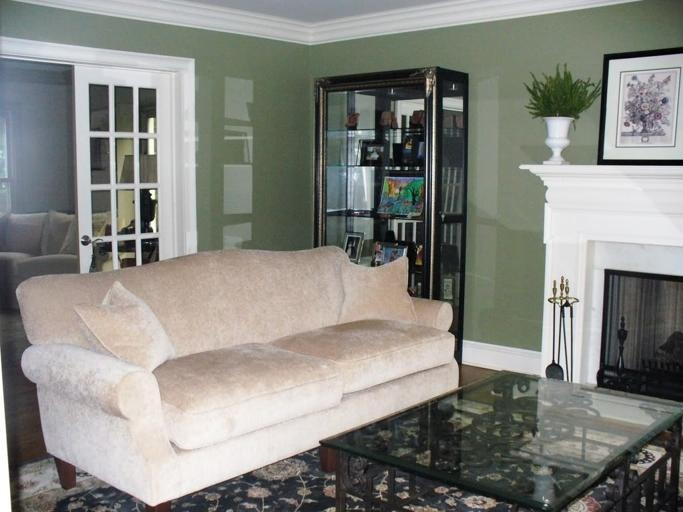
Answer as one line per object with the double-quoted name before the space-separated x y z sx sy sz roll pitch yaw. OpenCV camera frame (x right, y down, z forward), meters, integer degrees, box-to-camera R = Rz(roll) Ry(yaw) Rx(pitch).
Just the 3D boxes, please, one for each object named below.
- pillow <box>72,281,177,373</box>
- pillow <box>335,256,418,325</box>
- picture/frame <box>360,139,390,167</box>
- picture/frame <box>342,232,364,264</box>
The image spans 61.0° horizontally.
"pillow" -1.082 0.370 2.946 0.337 0.418 0.365 -1 9 5
"pillow" 0.243 0.249 4.001 0.463 0.475 0.145 0 -10 -2
"picture/frame" 0.314 -0.933 5.231 0.226 0.223 0.116 8 14 37
"picture/frame" 0.116 -0.071 5.241 0.024 0.319 0.255 0 9 -44
